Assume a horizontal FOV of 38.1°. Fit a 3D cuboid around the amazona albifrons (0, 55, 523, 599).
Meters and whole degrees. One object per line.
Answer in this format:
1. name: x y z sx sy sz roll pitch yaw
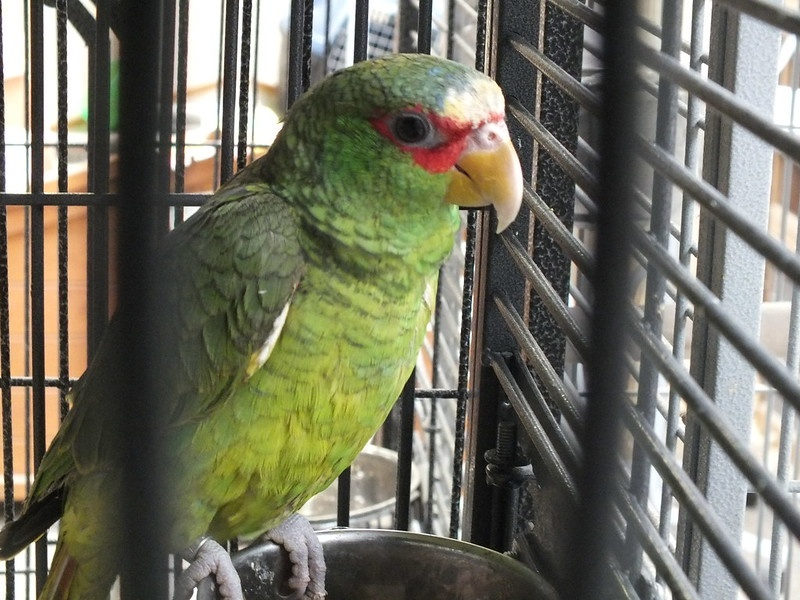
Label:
1. amazona albifrons: -0.093 0.053 1.848 0.579 0.777 0.395 -1 -21 8
